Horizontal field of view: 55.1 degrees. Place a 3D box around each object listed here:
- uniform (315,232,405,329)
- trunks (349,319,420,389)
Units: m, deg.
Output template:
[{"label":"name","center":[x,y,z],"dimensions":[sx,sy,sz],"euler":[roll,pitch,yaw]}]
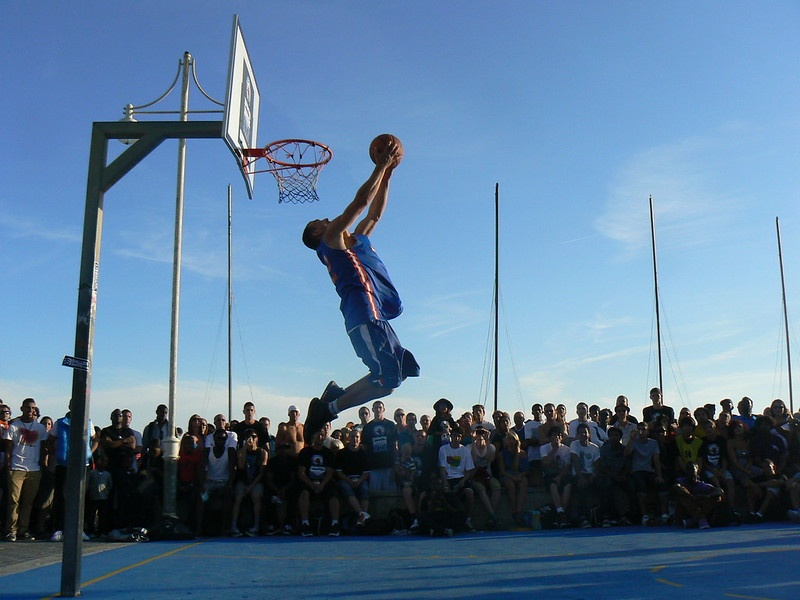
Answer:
[{"label":"uniform","center":[-0.443,-0.208,7.922],"dimensions":[0.552,1.001,0.731],"euler":[-25,-13,7]},{"label":"trunks","center":[-0.148,0.552,8.362],"dimensions":[0.440,0.734,0.625],"euler":[-9,13,26]}]
